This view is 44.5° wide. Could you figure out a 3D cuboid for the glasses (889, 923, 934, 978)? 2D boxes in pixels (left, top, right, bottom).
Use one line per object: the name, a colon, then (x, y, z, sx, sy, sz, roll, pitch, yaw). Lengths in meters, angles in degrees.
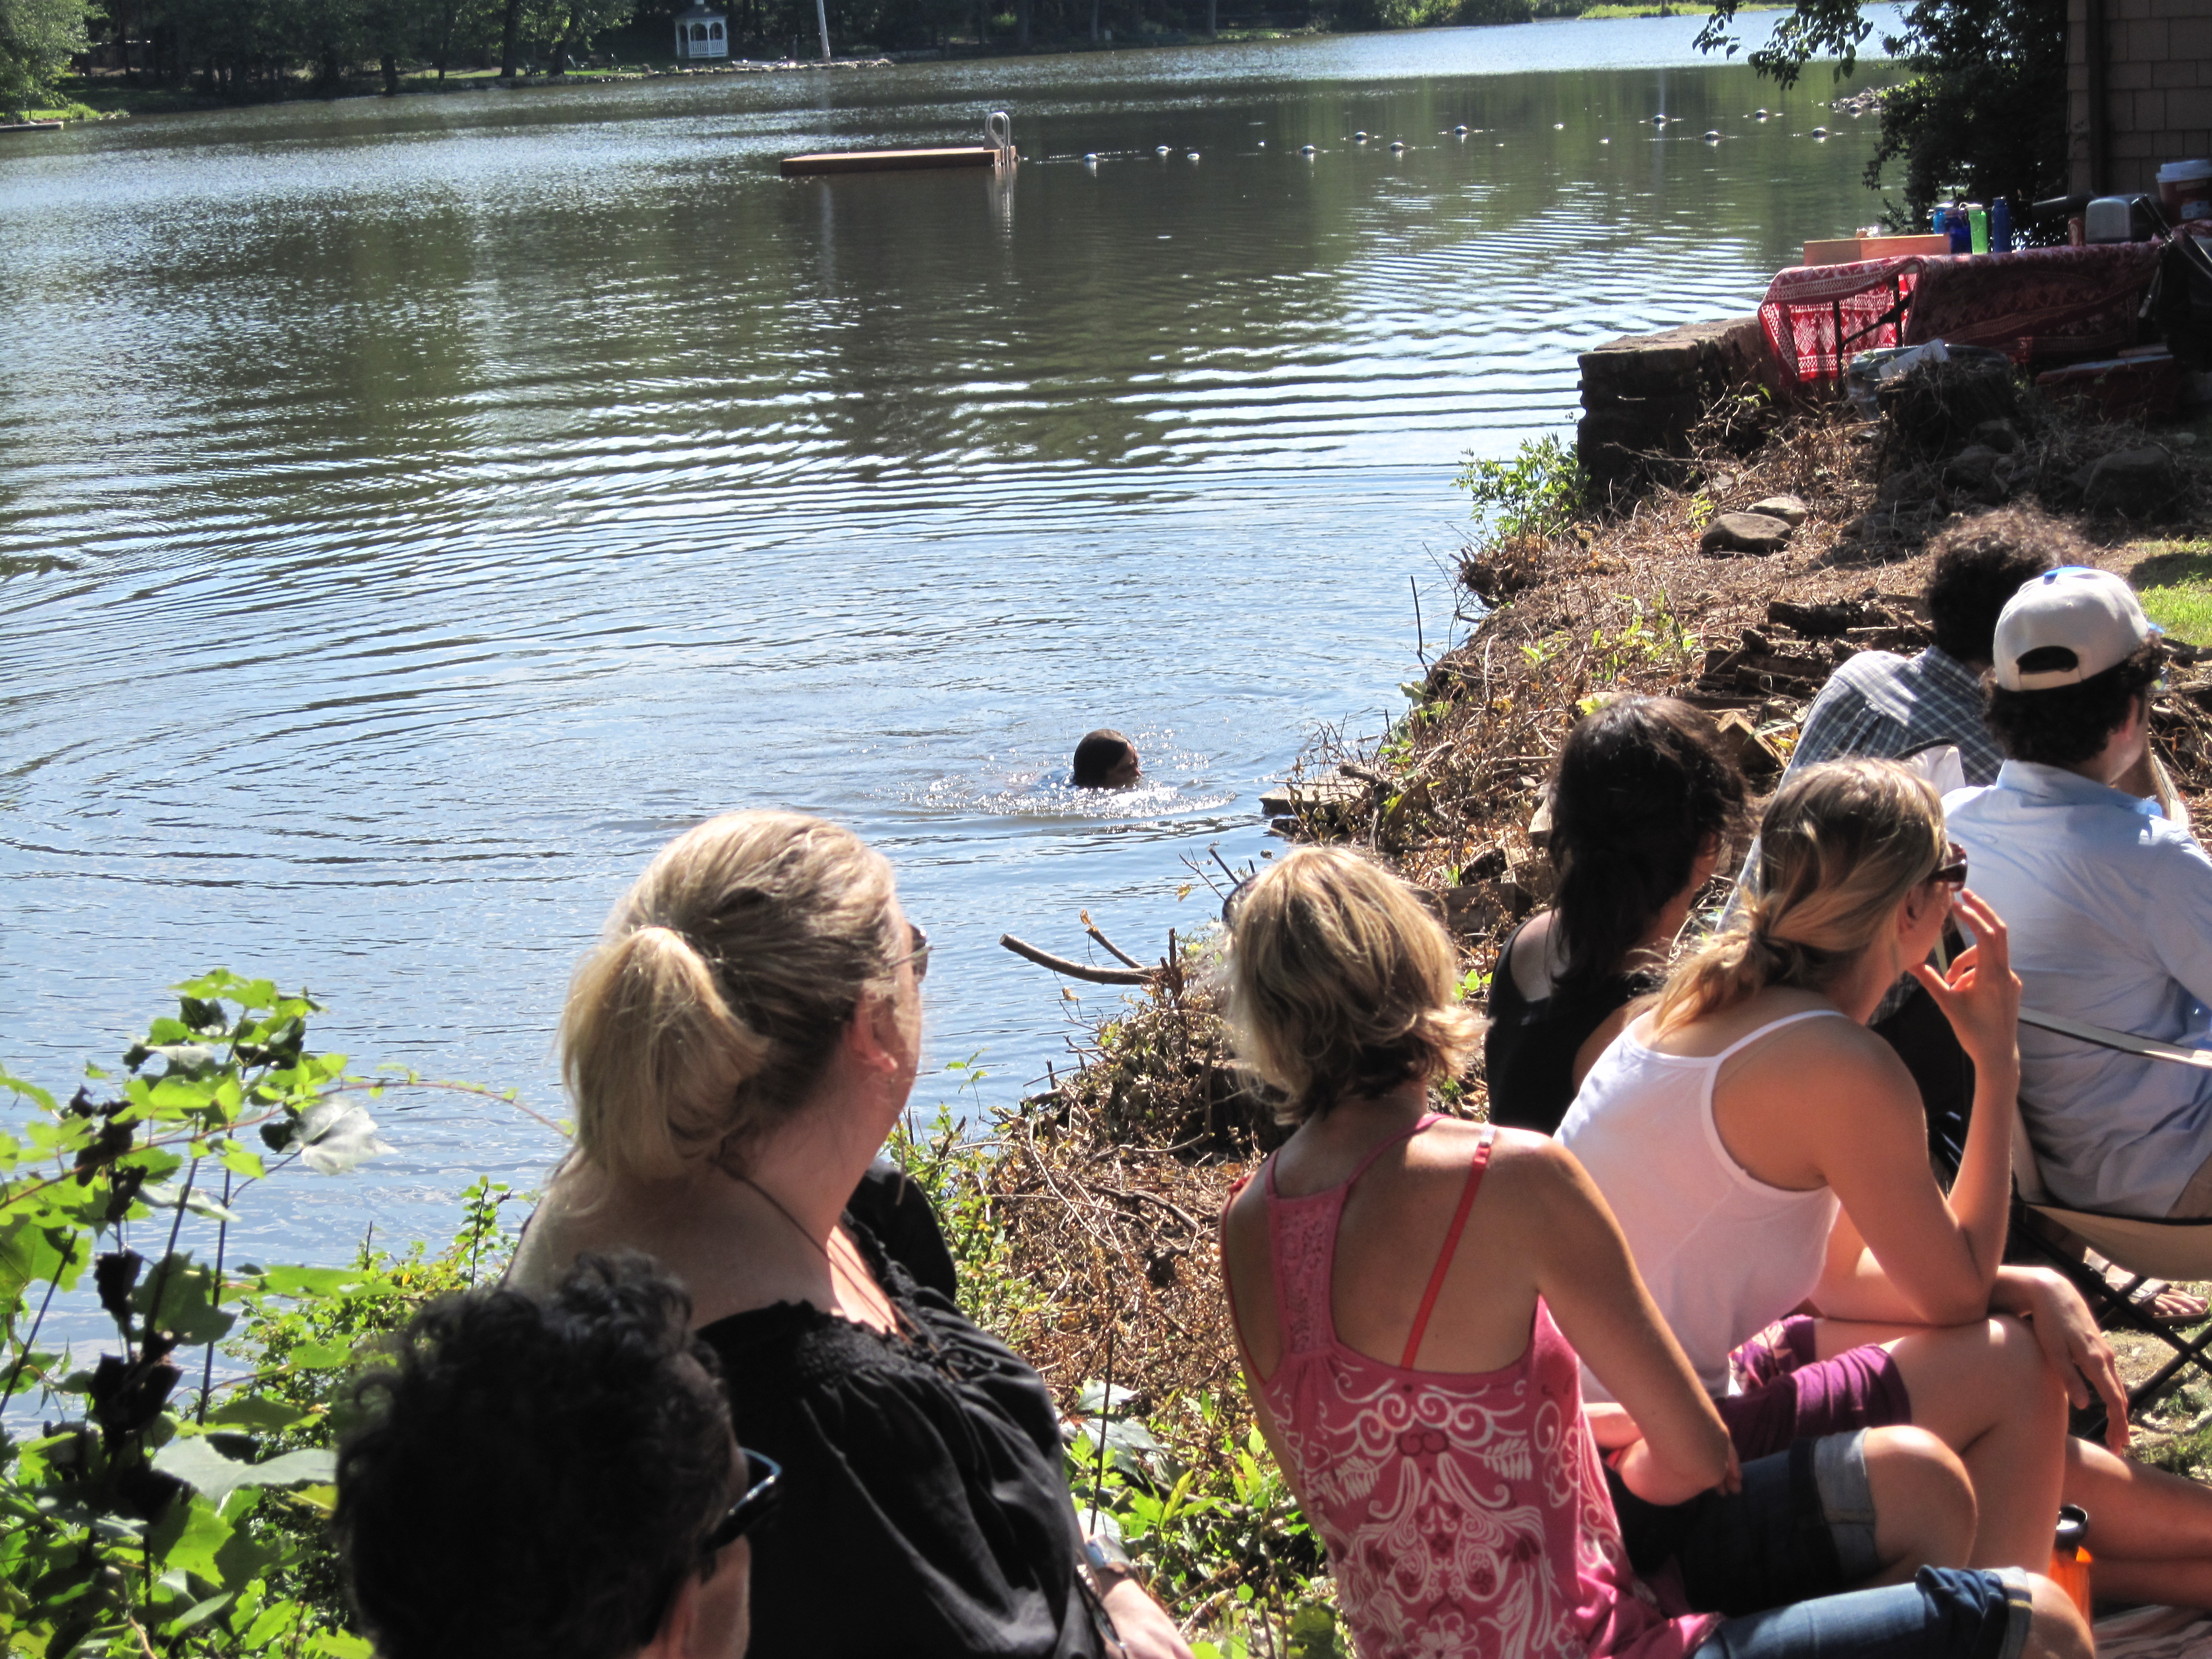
glasses: (-0.375, 0.239, 5.211, 0.078, 0.106, 0.094, -4, 44, 0)
